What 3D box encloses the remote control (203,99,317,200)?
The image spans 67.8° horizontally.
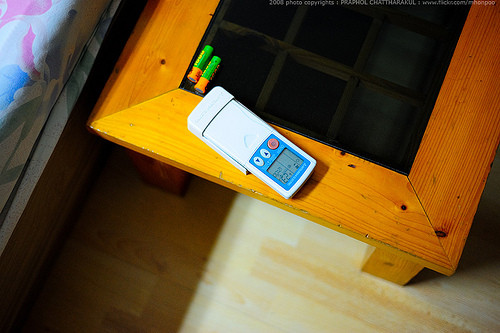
[{"bbox_3d":[-0.006,-0.062,0.983,0.303,0.300,0.190,-5,-27,-2],"label":"remote control"}]
